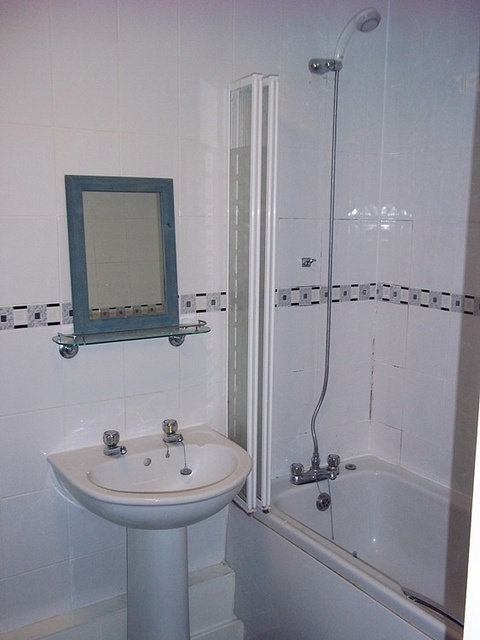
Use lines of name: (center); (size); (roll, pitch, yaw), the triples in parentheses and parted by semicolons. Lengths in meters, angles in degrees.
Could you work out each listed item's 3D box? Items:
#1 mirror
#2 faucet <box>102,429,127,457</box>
mirror: (-0.367, -0.203, 1.648); (0.437, 0.622, 0.026); (-5, 11, -32)
faucet: (-0.388, 0.371, 1.700); (0.078, 0.076, 0.055); (-4, 11, -34)
